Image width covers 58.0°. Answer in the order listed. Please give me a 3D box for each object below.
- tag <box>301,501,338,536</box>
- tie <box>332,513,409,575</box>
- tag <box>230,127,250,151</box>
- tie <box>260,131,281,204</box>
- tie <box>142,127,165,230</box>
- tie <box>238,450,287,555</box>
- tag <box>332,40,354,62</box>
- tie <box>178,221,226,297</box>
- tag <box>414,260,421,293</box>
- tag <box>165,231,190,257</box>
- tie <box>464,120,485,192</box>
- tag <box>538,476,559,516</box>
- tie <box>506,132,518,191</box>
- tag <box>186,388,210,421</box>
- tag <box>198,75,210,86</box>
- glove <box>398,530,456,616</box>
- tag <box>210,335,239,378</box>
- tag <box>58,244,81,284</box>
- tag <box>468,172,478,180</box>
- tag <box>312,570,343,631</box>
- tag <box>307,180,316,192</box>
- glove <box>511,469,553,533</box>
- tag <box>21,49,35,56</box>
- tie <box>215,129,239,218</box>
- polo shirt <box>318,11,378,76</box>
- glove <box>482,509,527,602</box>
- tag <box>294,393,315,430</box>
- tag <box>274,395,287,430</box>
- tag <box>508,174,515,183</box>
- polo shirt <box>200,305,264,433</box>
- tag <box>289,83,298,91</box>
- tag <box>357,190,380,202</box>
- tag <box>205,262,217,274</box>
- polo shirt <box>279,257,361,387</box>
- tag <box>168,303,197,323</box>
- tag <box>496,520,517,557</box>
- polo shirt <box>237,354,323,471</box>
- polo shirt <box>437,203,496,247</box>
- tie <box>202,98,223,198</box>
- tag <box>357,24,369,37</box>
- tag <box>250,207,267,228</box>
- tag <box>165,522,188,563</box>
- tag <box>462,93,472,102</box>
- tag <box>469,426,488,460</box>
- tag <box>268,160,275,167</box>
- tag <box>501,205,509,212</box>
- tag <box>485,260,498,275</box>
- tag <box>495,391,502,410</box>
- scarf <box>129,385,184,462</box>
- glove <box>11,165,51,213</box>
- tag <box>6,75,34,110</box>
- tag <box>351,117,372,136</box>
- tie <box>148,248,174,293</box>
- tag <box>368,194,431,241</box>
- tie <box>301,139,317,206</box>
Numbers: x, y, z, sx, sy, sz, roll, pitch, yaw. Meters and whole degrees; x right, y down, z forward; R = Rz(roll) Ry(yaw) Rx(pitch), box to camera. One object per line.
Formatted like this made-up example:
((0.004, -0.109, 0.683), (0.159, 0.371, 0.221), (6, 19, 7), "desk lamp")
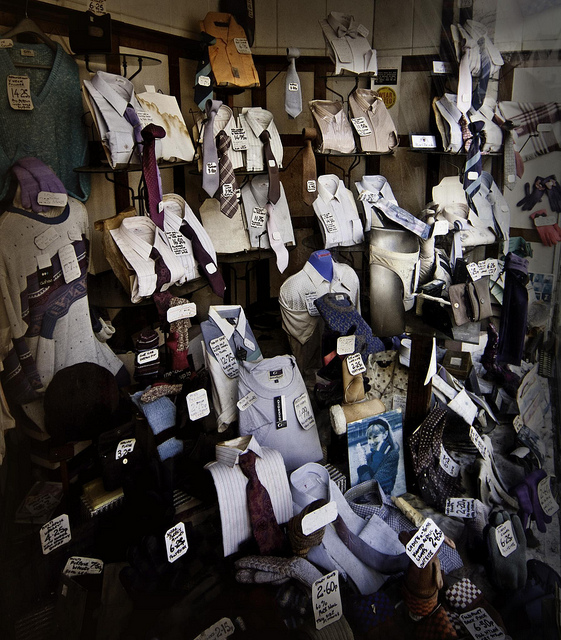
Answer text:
((0.119, 0.597, 1.563), (0.026, 0.081, 0.129), (-2, 17, 46), "tag")
((0.298, 0.777, 1.705), (0.050, 0.193, 0.179), (-44, 1, 1), "tie")
((-0.229, -1.009, 2.827), (0.100, 0.187, 0.015), (-5, -6, -40), "tag")
((-0.055, -0.886, 2.921), (0.091, 0.470, 0.056), (-3, -17, -26), "tie")
((-0.518, -0.591, 2.126), (0.089, 0.419, 0.112), (-14, 19, -30), "tie")
((-0.064, 0.603, 1.687), (0.109, 0.469, 0.061), (-4, 39, 9), "tie")
((0.361, -1.567, 2.950), (0.085, 0.218, 0.017), (-6, -13, -30), "tag")
((-0.353, -0.277, 2.378), (0.032, 0.466, 0.118), (1, 34, 33), "tie")
((0.791, -0.253, 2.932), (0.008, 0.138, 0.121), (6, 30, 16), "tag")
((-0.458, -0.338, 2.236), (0.006, 0.132, 0.101), (-16, -12, 22), "tag")
((1.169, -0.967, 3.042), (0.116, 0.448, 0.056), (-13, 37, 6), "tie")
((1.072, 0.714, 2.041), (0.067, 0.164, 0.025), (2, -13, -45), "tag")
((1.234, -0.851, 2.710), (0.051, 0.357, 0.008), (-4, -29, 19), "tie")
((-0.304, 0.311, 1.875), (0.038, 0.109, 0.102), (8, 24, 35), "tag")
((-0.417, -1.315, 2.779), (0.060, 0.079, 0.039), (0, 13, -9), "tag")
((0.425, 0.736, 1.519), (0.143, 0.353, 0.136), (2, 19, 10), "glove")
((-0.237, 0.160, 2.193), (0.116, 0.157, 0.090), (11, 24, 40), "tag")
((-0.808, -0.217, 1.935), (0.011, 0.151, 0.095), (0, 20, 18), "tag")
((1.166, -0.877, 3.066), (0.035, 0.050, 0.010), (5, 10, 11), "tag")
((0.135, 0.820, 1.492), (0.090, 0.171, 0.011), (-12, 13, -18), "tag")
((0.182, -0.806, 3.022), (0.045, 0.093, 0.007), (1, -8, -12), "tag")
((0.982, 0.705, 2.004), (0.062, 0.201, 0.160), (-4, 18, 44), "glove")
((-0.909, -0.964, 1.823), (0.009, 0.020, 0.060), (0, 24, 14), "tag")
((-0.296, -0.869, 2.758), (0.094, 0.459, 0.049), (-3, -29, -21), "tie")
((0.428, -1.613, 3.056), (0.271, 0.479, 0.244), (-6, -9, -8), "polo shirt")
((0.784, 0.785, 1.768), (0.119, 0.306, 0.071), (-13, 6, 11), "glove")
((0.102, 0.395, 2.175), (0.014, 0.193, 0.115), (-11, 3, 29), "tag")
((0.001, 0.384, 2.099), (0.043, 0.128, 0.054), (-5, 17, -3), "tag")
((1.222, -0.752, 2.676), (0.010, 0.055, 0.048), (1, 7, -14), "tag")
((-0.206, 0.164, 2.275), (0.251, 0.129, 0.459), (-8, 54, -13), "polo shirt")
((0.082, -1.407, 3.050), (0.057, 0.046, 0.015), (-15, 19, -22), "tag")
((0.531, -0.749, 3.021), (0.075, 0.083, 0.028), (8, 2, 1), "tag")
((-0.324, -0.245, 2.380), (0.011, 0.055, 0.069), (5, 23, 27), "tag")
((0.276, 0.008, 3.066), (0.425, 0.820, 0.273), (-14, 34, -7), "polo shirt")
((-0.406, -0.028, 2.091), (0.104, 0.068, 0.025), (-15, 16, -40), "tag")
((0.781, 0.759, 1.755), (0.006, 0.113, 0.081), (-18, -22, 35), "tag")
((-0.009, 0.389, 2.081), (0.273, 0.435, 0.197), (-8, 12, -29), "polo shirt")
((1.137, -0.646, 3.196), (0.235, 0.115, 0.336), (-34, 48, -13), "polo shirt")
((-0.358, -0.896, 2.672), (0.089, 0.628, 0.060), (1, -24, -8), "tie")
((0.489, -1.716, 3.000), (0.045, 0.064, 0.019), (-38, 10, -9), "tag")
((-0.132, -0.613, 2.999), (0.075, 0.146, 0.009), (8, -2, -27), "tag")
((-0.322, 0.690, 1.576), (0.069, 0.012, 0.111), (-22, 35, -9), "tag")
((1.083, -1.291, 2.934), (0.032, 0.044, 0.009), (1, 16, 2), "tag")
((0.833, 0.492, 2.121), (0.071, 0.125, 0.139), (4, 22, 25), "tag")
((-0.048, -0.898, 2.890), (0.011, 0.038, 0.041), (11, 26, 42), "tag")
((1.272, -0.635, 2.863), (0.008, 0.045, 0.036), (12, -15, -29), "tag")
((1.220, -0.306, 2.930), (0.062, 0.098, 0.010), (9, -24, -27), "tag")
((1.152, 0.423, 2.670), (0.010, 0.060, 0.034), (8, 1, -4), "tag")
((-0.439, 0.395, 1.898), (0.156, 0.285, 0.073), (-11, -4, -37), "scarf")
((-0.852, -0.447, 1.736), (0.064, 0.162, 0.108), (12, 25, 43), "glove")
((-0.921, -0.805, 1.786), (0.010, 0.139, 0.114), (3, 14, 19), "tag")
((0.496, -1.192, 3.117), (0.070, 0.115, 0.010), (-23, 2, -31), "tag")
((-0.498, -0.236, 2.108), (0.107, 0.197, 0.070), (5, -36, -26), "tie")
((0.709, -0.607, 3.012), (0.351, 0.263, 0.149), (5, 20, 28), "tag")
((0.177, -0.902, 3.003), (0.083, 0.473, 0.071), (-3, 43, 4), "tie")
